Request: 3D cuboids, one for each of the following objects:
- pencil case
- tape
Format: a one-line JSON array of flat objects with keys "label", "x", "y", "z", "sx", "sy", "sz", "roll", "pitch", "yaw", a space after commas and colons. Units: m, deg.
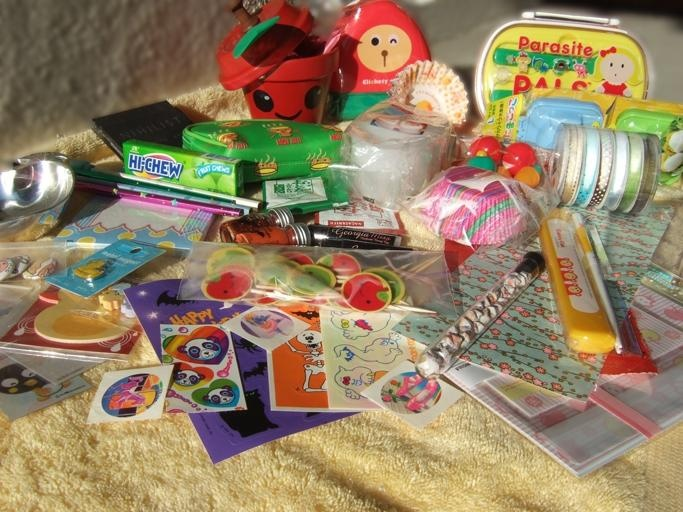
[{"label": "pencil case", "x": 0.245, "y": 0.035, "z": 0.585, "sx": 0.057, "sy": 0.027, "sz": 0.147, "roll": -3, "pitch": 38, "yaw": 5}, {"label": "tape", "x": 0.325, "y": -0.111, "z": 0.754, "sx": 0.166, "sy": 0.127, "sz": 0.102, "roll": 5, "pitch": 86, "yaw": 5}]
